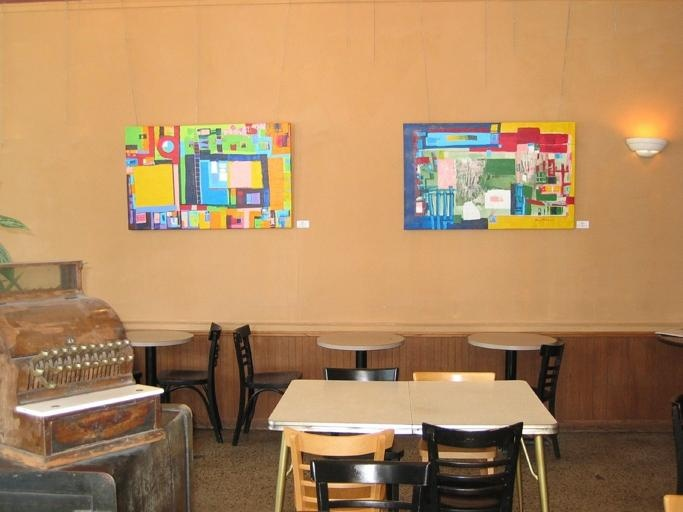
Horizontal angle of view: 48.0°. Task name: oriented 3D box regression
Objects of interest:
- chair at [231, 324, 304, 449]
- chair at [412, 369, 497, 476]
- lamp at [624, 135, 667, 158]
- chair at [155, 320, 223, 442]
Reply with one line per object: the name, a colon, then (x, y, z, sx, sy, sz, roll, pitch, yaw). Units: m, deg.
chair: (-0.673, 1.238, 7.192, 0.720, 1.032, 0.630, 0, 4, -8)
chair: (0.874, 1.240, 5.771, 0.590, 1.009, 0.692, 0, 7, 3)
lamp: (2.984, -1.060, 7.469, 0.399, 0.198, 0.180, -1, 8, 9)
chair: (-1.440, 1.235, 7.313, 0.660, 1.051, 0.551, 0, 3, -14)
